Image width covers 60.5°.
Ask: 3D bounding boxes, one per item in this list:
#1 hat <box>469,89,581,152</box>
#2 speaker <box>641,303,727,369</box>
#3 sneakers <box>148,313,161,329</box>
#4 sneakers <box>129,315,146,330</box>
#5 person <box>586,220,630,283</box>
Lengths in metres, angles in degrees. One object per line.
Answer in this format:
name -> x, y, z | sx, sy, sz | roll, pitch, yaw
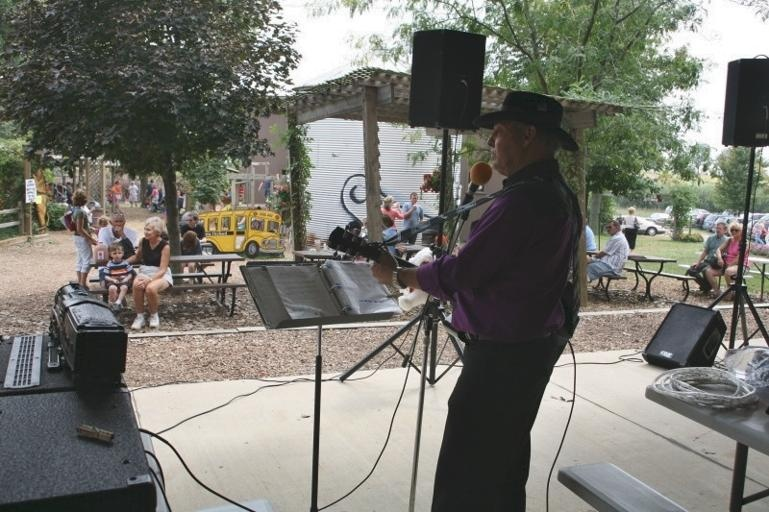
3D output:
hat -> 0.913, -0.822, 4.228 | 0.490, 0.184, 0.411 | 20, 6, -2
speaker -> 3.197, 0.879, 7.021 | 0.520, 0.707, 0.675 | -3, 10, -18
sneakers -> -2.981, 0.829, 8.531 | 0.130, 0.188, 0.230 | -4, 10, -20
sneakers -> -3.179, 0.849, 8.497 | 0.113, 0.118, 0.281 | 0, 0, -2
person -> 3.839, -0.036, 11.426 | 0.661, 1.140, 0.796 | 3, 10, 18
